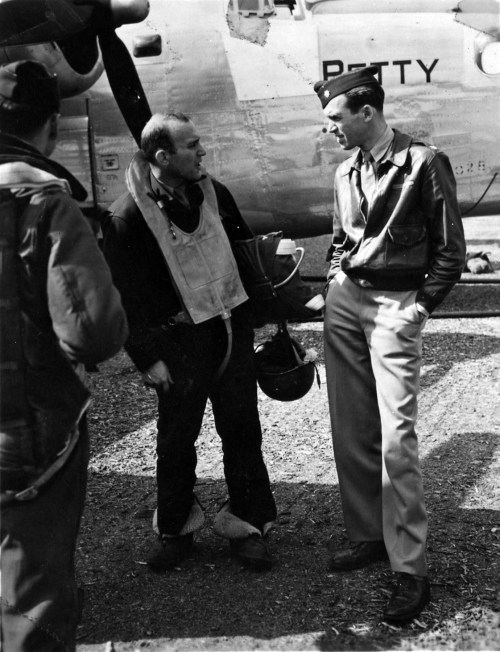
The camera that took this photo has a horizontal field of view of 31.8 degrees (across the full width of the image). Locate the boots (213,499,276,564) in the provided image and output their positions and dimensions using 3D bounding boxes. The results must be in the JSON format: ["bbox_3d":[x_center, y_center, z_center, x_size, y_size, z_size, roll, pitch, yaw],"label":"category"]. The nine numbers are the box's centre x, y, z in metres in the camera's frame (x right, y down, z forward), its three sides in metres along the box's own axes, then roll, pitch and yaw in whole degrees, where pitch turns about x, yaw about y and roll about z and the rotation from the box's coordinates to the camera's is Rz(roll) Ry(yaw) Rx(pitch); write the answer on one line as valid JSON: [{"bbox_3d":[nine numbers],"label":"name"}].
[{"bbox_3d":[-0.019,0.812,3.443,0.170,0.184,0.410,19,-3,-19],"label":"boots"}]

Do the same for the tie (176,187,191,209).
[{"bbox_3d":[-0.241,-0.455,3.141,0.050,0.073,0.021,-15,9,-44],"label":"tie"}]

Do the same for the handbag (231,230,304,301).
[{"bbox_3d":[0.085,-0.213,3.436,0.250,0.203,0.276,39,-2,28],"label":"handbag"}]

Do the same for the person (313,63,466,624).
[{"bbox_3d":[0.497,0.009,3.149,0.513,1.820,0.845,-6,13,-11],"label":"person"}]

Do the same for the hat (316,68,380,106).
[{"bbox_3d":[0.345,-0.859,3.133,0.194,0.109,0.146,-19,7,15],"label":"hat"}]

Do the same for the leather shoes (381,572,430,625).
[{"bbox_3d":[0.524,0.911,2.953,0.099,0.143,0.173,5,16,36],"label":"leather shoes"}]

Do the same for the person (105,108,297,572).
[{"bbox_3d":[-0.214,0.084,3.275,0.542,1.702,0.453,-4,12,-1],"label":"person"}]

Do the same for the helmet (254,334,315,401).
[{"bbox_3d":[0.144,0.175,3.664,0.227,0.205,0.267,-1,2,2],"label":"helmet"}]

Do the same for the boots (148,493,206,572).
[{"bbox_3d":[-0.254,0.792,3.481,0.127,0.260,0.365,11,30,20],"label":"boots"}]
